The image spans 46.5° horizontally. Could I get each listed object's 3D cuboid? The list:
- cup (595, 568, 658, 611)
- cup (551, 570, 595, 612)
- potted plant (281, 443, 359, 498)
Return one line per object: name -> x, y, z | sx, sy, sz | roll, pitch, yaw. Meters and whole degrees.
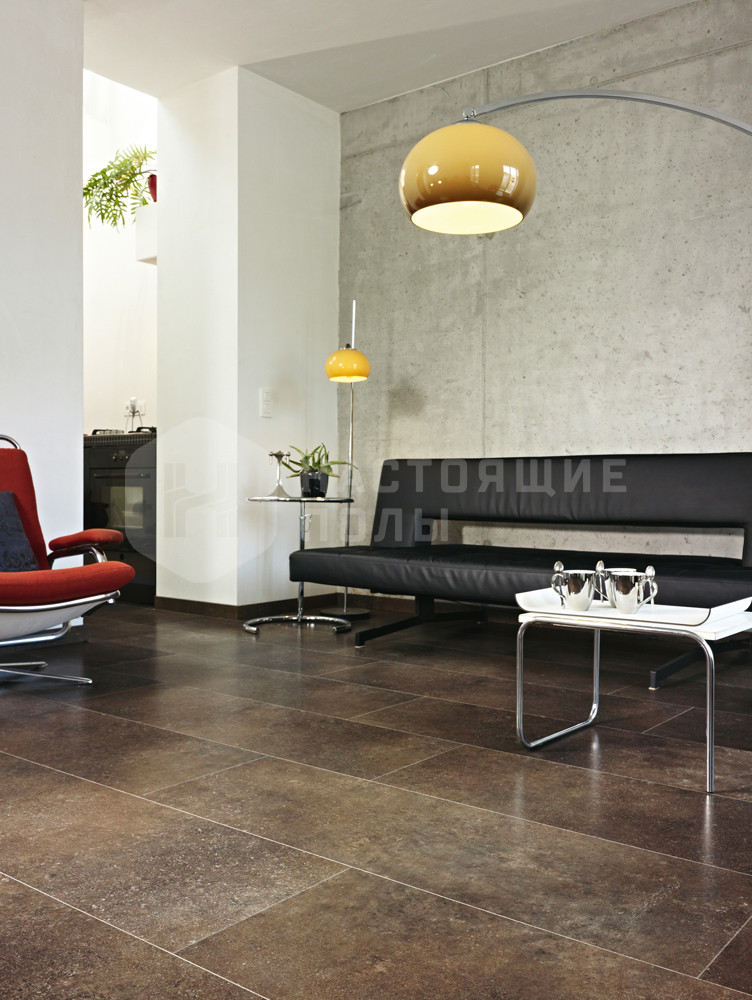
cup -> 0.601, 0.214, 2.128 | 0.160, 0.101, 0.101 | -1, 1, 14
cup -> 0.488, 0.220, 2.192 | 0.114, 0.103, 0.075 | 1, 0, 28
potted plant -> -0.304, -0.155, 4.581 | 0.349, 0.224, 0.346 | -2, -2, 42
